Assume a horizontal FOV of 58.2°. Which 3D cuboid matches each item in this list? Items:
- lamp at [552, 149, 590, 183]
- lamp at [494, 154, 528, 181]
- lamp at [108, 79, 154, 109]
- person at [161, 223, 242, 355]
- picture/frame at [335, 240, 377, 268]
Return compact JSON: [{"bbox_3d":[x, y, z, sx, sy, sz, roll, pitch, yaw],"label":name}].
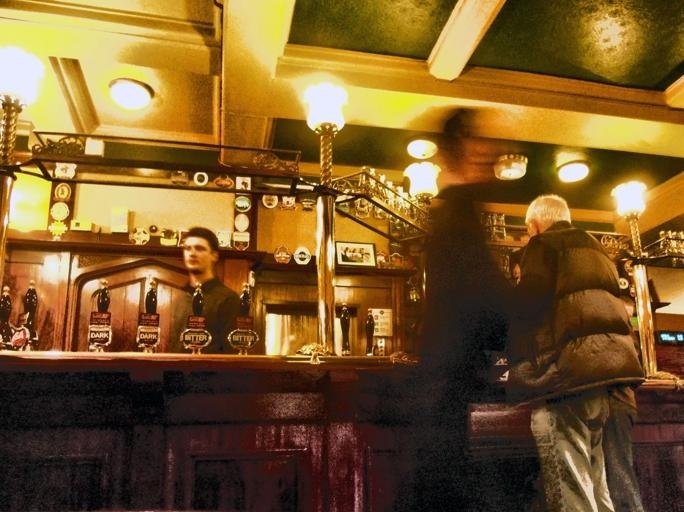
[{"bbox_3d":[2.463,-0.965,6.602,0.344,0.292,0.318,5,-18,-14],"label":"lamp"},{"bbox_3d":[1.750,-0.927,6.445,0.274,0.088,0.262,20,-30,-32],"label":"lamp"},{"bbox_3d":[-2.091,-1.605,6.162,0.428,0.104,0.565,3,-11,-13],"label":"lamp"},{"bbox_3d":[-1.037,0.236,4.767,0.468,1.056,1.805,4,-12,-15],"label":"person"},{"bbox_3d":[0.139,-0.012,6.645,0.376,0.207,0.013,6,-38,-13],"label":"picture/frame"}]
